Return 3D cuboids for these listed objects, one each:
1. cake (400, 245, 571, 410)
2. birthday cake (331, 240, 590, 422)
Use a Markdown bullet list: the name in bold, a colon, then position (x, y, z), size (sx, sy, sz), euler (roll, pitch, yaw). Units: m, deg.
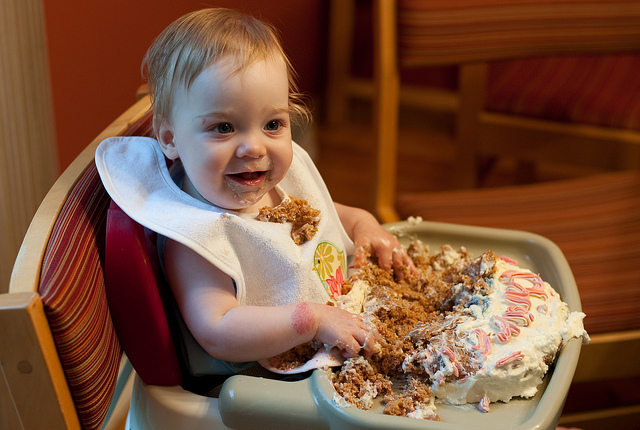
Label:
- **cake**: position (0.323, 0.204, 1.113), size (0.256, 0.122, 0.353), euler (3, 36, 34)
- **birthday cake**: position (0.238, 0.158, 1.177), size (0.402, 0.286, 0.476), euler (1, 4, -32)
